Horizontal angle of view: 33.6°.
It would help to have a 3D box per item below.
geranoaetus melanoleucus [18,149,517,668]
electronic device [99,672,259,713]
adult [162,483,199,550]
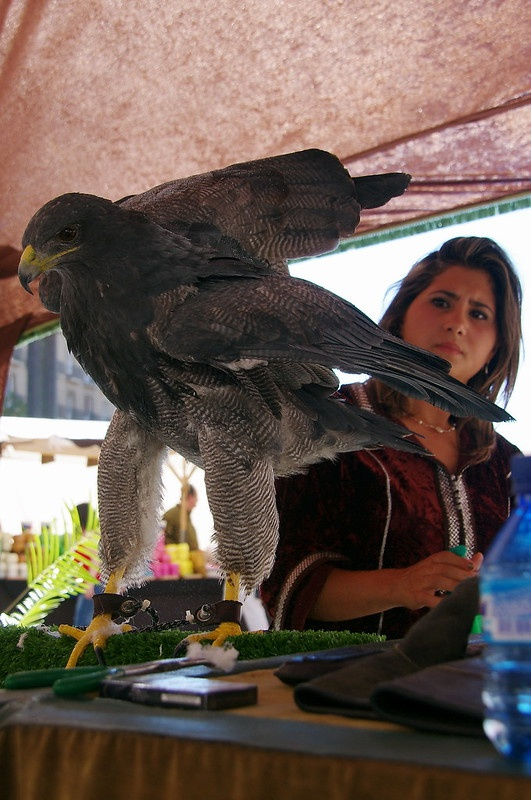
[{"bbox_3d":[0.025,-0.096,2.342,1.433,0.864,1.240,-6,6,-33],"label":"geranoaetus melanoleucus"},{"bbox_3d":[-0.093,0.355,1.067,0.102,0.013,0.066,-2,-8,33],"label":"electronic device"},{"bbox_3d":[-0.676,1.023,7.397,0.323,0.566,0.234,-12,23,-14],"label":"adult"}]
